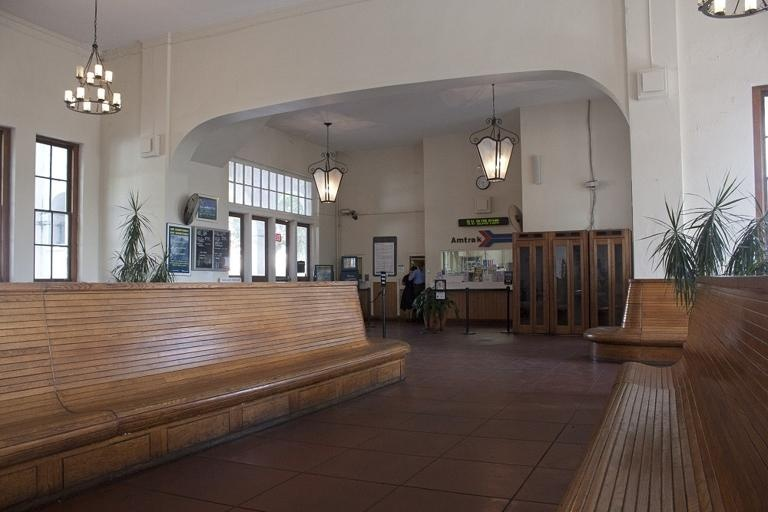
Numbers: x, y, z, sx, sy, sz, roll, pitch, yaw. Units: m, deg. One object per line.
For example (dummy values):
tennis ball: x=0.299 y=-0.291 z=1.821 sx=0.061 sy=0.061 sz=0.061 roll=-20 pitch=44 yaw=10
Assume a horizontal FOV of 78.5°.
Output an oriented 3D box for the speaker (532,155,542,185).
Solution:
speaker: x=3.503 y=-1.973 z=10.816 sx=0.231 sy=0.667 sz=0.090 roll=0 pitch=-1 yaw=16

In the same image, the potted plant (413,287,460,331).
potted plant: x=1.216 y=1.258 z=10.846 sx=1.086 sy=0.994 sz=1.106 roll=0 pitch=-6 yaw=13

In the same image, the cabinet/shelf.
cabinet/shelf: x=3.835 y=0.563 z=9.463 sx=2.105 sy=2.076 sz=0.731 roll=-1 pitch=-4 yaw=22
